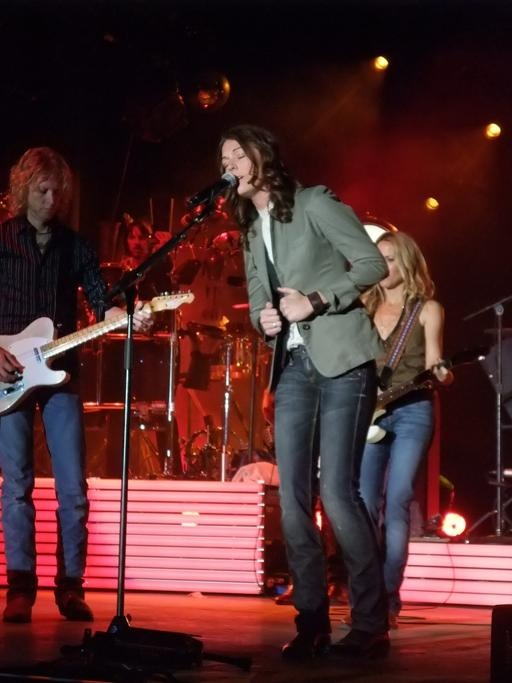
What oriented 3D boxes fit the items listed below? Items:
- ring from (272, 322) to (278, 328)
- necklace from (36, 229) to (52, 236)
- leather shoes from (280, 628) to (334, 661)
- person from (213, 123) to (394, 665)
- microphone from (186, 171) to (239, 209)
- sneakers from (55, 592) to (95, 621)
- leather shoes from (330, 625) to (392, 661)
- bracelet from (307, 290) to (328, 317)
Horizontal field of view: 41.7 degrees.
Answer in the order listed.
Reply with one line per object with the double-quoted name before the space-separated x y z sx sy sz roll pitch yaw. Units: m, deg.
"ring" 0.061 -0.053 2.164 0.019 0.016 0.008 1 -7 -2
"necklace" -0.967 -0.500 3.092 0.045 0.035 0.040 -1 2 -2
"leather shoes" 0.161 0.928 2.055 0.064 0.065 0.169 -14 -20 28
"person" 0.153 0.124 2.251 0.580 1.700 0.410 -1 -8 14
"microphone" -0.136 -0.480 2.205 0.092 0.062 0.225 -7 21 46
"sneakers" -0.742 1.083 2.739 0.077 0.080 0.213 3 -17 -34
"leather shoes" 0.318 0.918 2.034 0.209 0.075 0.072 13 -26 -27
"bracelet" 0.197 -0.118 2.128 0.064 0.072 0.101 -1 -7 13
